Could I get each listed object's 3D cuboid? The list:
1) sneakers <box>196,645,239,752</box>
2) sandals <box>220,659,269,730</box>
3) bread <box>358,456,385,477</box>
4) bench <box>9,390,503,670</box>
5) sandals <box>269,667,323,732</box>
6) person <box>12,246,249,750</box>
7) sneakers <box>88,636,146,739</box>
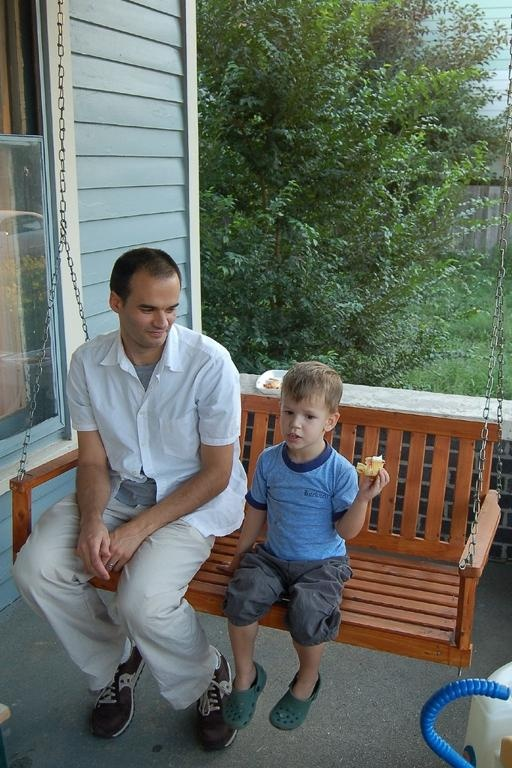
[{"bbox_3d":[-0.129,0.815,1.566,0.086,0.251,0.107,-17,-15,17],"label":"sneakers"},{"bbox_3d":[-0.018,0.705,1.393,0.074,0.067,0.168,-5,44,35],"label":"sandals"},{"bbox_3d":[0.266,0.187,1.356,0.052,0.036,0.049,-2,3,16],"label":"bread"},{"bbox_3d":[0.112,0.433,1.732,1.134,0.542,0.475,0,13,28],"label":"bench"},{"bbox_3d":[0.097,0.718,1.356,0.073,0.047,0.172,8,32,29],"label":"sandals"},{"bbox_3d":[-0.322,0.297,1.518,0.561,1.276,0.494,1,8,3],"label":"person"},{"bbox_3d":[-0.373,0.846,1.648,0.079,0.085,0.231,-6,36,20],"label":"sneakers"}]
